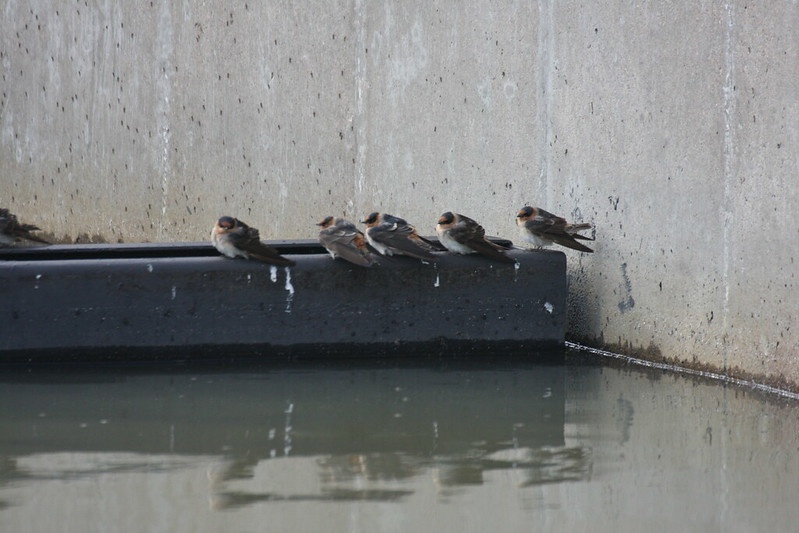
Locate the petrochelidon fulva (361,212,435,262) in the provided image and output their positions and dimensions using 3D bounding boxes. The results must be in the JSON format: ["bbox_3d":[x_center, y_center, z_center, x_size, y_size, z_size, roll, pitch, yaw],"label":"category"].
[{"bbox_3d":[-0.008,-0.244,14.905,0.286,0.339,0.844,-11,20,-44],"label":"petrochelidon fulva"}]

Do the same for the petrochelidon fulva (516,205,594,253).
[{"bbox_3d":[1.335,-0.320,15.032,0.709,0.304,0.234,7,4,-6],"label":"petrochelidon fulva"}]

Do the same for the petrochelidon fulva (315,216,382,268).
[{"bbox_3d":[-0.448,-0.218,14.802,0.280,0.267,0.632,-35,37,-14],"label":"petrochelidon fulva"}]
